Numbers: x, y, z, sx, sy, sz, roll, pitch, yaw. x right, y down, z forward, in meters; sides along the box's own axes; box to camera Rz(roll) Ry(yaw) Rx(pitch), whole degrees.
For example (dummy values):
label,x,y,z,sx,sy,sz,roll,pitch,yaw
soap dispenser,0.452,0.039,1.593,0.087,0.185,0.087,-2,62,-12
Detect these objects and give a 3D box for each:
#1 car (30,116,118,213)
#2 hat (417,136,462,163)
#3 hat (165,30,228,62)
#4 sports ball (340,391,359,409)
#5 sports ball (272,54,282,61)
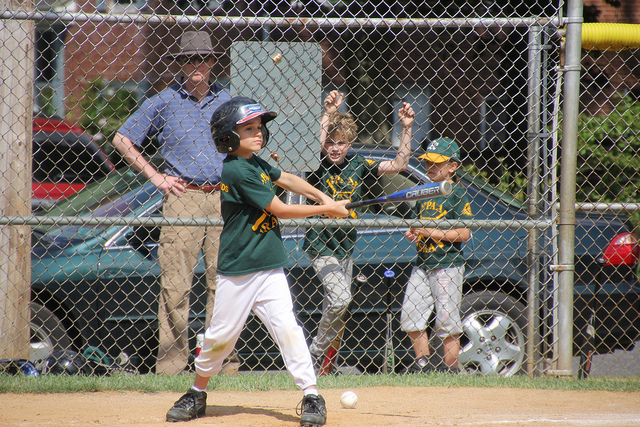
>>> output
label,x,y,z,sx,sy,sz,roll,pitch,yaw
car,-3.637,-0.741,17.812,1.135,1.274,2.137,-2,3,-3
hat,1.330,-0.697,13.638,0.514,0.338,0.358,0,1,-32
hat,-1.373,-1.854,13.705,0.636,0.360,0.332,-1,-1,-5
sports ball,0.294,1.862,12.518,0.142,0.156,0.151,-8,31,5
sports ball,-0.481,-1.661,13.204,0.082,0.083,0.137,0,-2,-41
